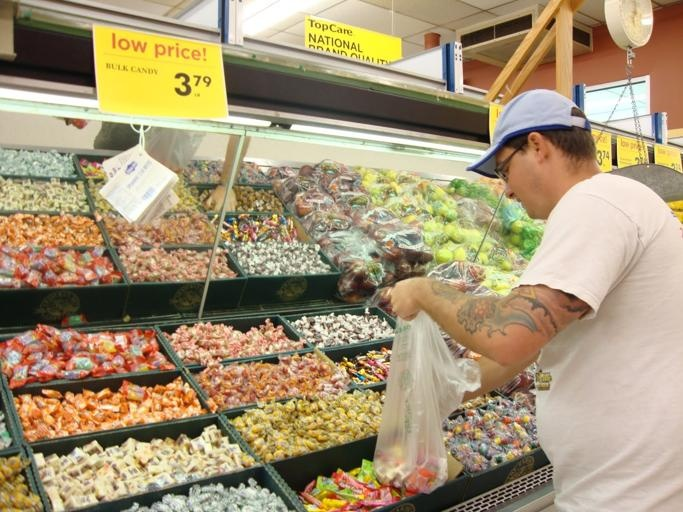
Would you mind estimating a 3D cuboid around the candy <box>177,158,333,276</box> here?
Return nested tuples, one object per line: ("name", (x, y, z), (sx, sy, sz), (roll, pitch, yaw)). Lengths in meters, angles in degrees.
("candy", (-0.390, -0.164, 2.431), (0.679, 0.479, 0.340), (-6, 9, -37))

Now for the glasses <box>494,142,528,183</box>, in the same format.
("glasses", (0.491, -0.277, 1.436), (0.027, 0.086, 0.084), (42, -1, 2))
